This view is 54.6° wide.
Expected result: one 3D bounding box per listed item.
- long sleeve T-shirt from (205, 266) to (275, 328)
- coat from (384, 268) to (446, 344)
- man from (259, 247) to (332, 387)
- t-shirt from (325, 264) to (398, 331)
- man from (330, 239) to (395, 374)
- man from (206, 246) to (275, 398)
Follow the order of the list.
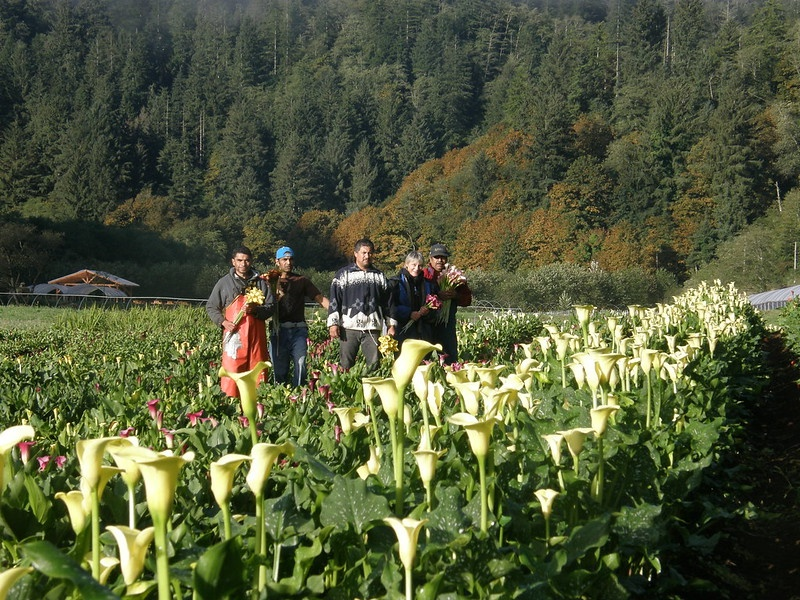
[{"bbox_3d":[-1.763,-0.035,8.541,0.715,0.747,0.446,-3,-14,-1],"label":"long sleeve T-shirt"},{"bbox_3d":[0.165,0.085,9.636,0.610,0.972,0.512,-5,13,-21],"label":"coat"},{"bbox_3d":[-1.210,0.317,9.117,0.834,1.902,0.555,3,24,1],"label":"man"},{"bbox_3d":[-0.449,-0.001,9.139,0.745,0.848,0.443,3,-15,-16],"label":"t-shirt"},{"bbox_3d":[-0.431,0.227,9.205,0.705,2.060,0.497,0,23,-5],"label":"man"},{"bbox_3d":[-1.683,0.343,8.300,0.618,1.804,0.586,-4,22,-16],"label":"man"}]
